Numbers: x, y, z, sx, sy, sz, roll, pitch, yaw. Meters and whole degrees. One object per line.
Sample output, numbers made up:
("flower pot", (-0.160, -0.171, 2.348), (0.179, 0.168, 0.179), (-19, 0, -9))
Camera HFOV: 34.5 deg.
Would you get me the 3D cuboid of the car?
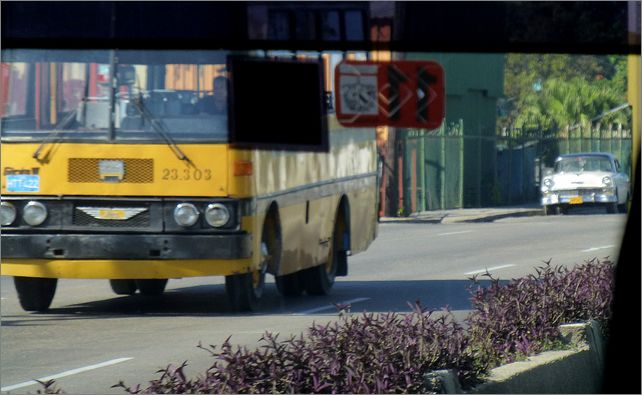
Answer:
("car", (8.305, -0.394, 32.771), (2.661, 2.004, 1.993), (-3, 2, 6))
